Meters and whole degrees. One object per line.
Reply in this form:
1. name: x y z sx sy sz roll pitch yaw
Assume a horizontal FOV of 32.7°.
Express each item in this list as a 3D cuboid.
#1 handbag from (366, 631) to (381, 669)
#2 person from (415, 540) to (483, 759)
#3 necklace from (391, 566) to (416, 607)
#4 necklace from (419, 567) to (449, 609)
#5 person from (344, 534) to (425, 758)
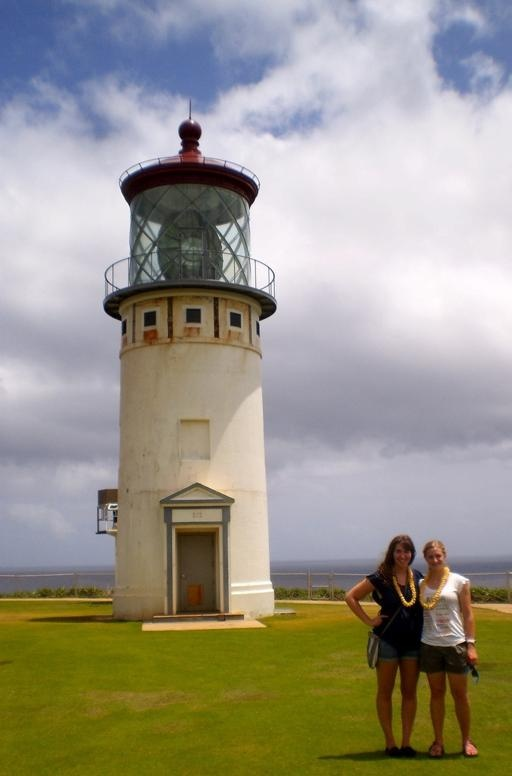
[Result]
1. handbag: 1.063 2.397 7.965 0.090 0.326 0.231 -1 -8 0
2. person: 1.766 2.429 8.063 0.485 1.971 0.463 -3 -8 11
3. necklace: 1.384 1.821 7.971 0.156 0.290 0.070 -1 -33 -3
4. necklace: 1.644 1.852 8.039 0.090 0.383 0.241 35 -31 -28
5. person: 1.217 2.397 8.023 0.648 2.042 1.199 -3 -8 10
